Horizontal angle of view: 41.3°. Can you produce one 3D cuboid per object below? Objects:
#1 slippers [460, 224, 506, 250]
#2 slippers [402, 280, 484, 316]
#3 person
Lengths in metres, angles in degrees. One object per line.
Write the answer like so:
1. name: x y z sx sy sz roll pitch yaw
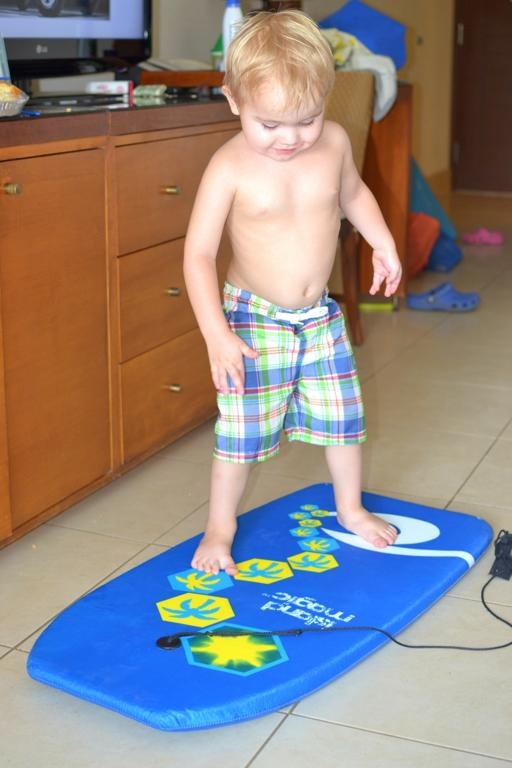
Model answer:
1. slippers: 1.308 -0.884 4.023 0.310 0.127 0.113 5 16 27
2. slippers: 0.773 -0.366 2.836 0.319 0.121 0.123 2 27 10
3. person: 0.078 -0.131 1.057 0.251 0.795 0.398 10 17 39
